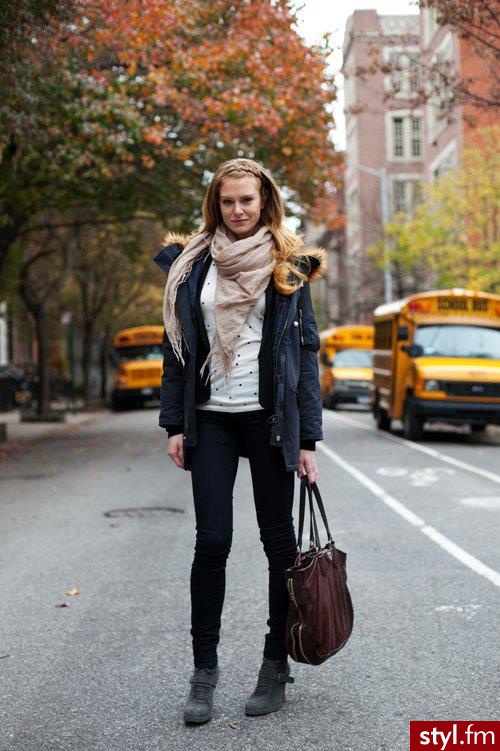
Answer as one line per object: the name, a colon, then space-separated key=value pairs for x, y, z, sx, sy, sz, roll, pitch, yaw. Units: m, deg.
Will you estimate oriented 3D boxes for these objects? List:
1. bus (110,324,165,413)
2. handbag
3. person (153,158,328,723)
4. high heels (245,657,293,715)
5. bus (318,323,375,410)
bus: x=-4.692 y=-0.273 z=35.826 sx=3.048 sy=3.557 sz=6.140 roll=-1 pitch=-4 yaw=-5
handbag: x=0.227 y=0.692 z=2.651 sx=0.215 sy=0.620 sz=0.480 roll=-2 pitch=0 yaw=6
person: x=-0.030 y=0.178 z=2.792 sx=0.616 sy=1.888 sz=0.552 roll=-1 pitch=0 yaw=0
high heels: x=0.064 y=1.040 z=2.675 sx=0.082 sy=0.132 sz=0.226 roll=-2 pitch=-8 yaw=17
bus: x=2.711 y=-0.173 z=22.244 sx=1.155 sy=1.490 sz=2.891 roll=-1 pitch=-1 yaw=1
